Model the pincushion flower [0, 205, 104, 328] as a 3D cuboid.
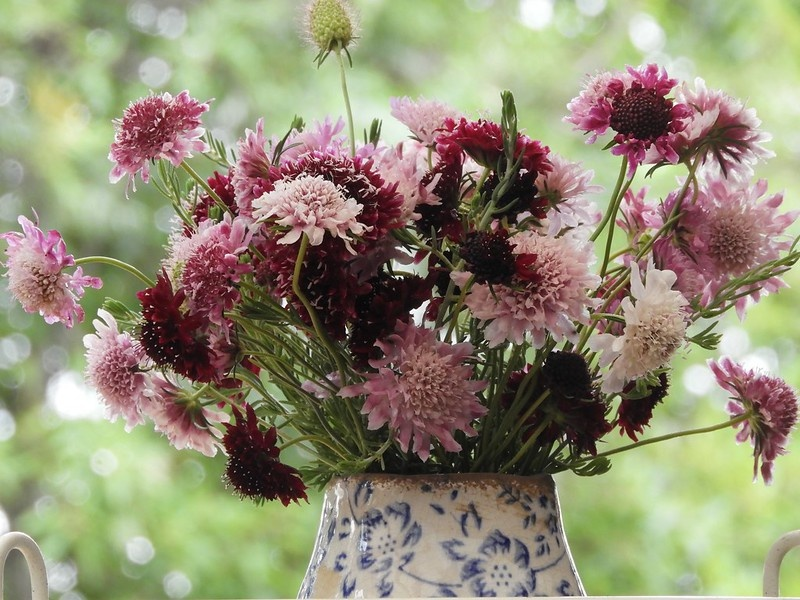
[{"bbox_3d":[-0.397,-0.034,1.300,0.118,0.072,0.137,-27,88,-27],"label":"pincushion flower"}]
